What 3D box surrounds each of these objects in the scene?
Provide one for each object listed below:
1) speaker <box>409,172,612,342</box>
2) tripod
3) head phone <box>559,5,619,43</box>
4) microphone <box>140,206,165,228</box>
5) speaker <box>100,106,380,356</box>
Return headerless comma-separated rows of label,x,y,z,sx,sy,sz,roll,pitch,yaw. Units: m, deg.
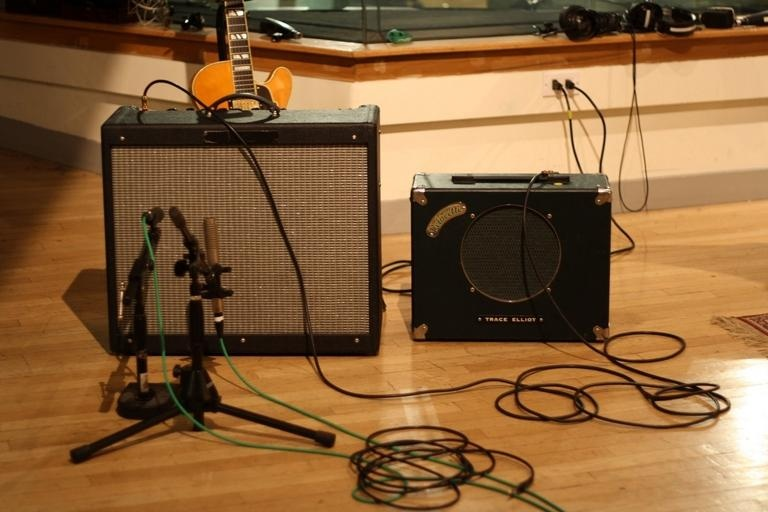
speaker,0.486,-0.004,2.766,0.838,0.548,0.268,-1,17,0
tripod,-0.551,0.274,2.446,0.826,0.376,0.620,1,23,-12
head phone,1.035,-1.175,3.679,0.340,0.173,0.131,-8,11,-35
microphone,-0.743,-0.132,2.356,0.057,0.058,0.118,-5,9,-19
speaker,-0.511,-0.114,2.630,1.193,0.831,0.385,0,21,-1
